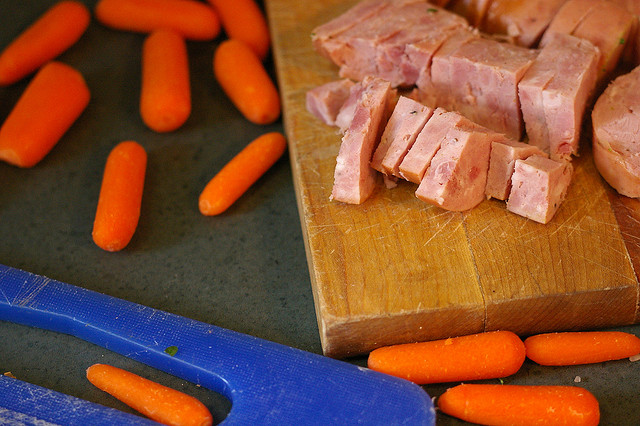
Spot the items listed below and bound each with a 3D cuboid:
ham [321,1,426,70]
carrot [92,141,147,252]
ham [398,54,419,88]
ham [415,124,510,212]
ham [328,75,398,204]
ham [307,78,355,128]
[{"bbox_3d":[0.210,-0.890,3.043,0.603,0.271,0.418,-29,33,-37],"label":"ham"},{"bbox_3d":[-0.829,-0.075,2.780,0.149,0.144,0.468,18,55,-22],"label":"carrot"},{"bbox_3d":[0.398,-0.621,2.875,0.100,0.107,0.025,8,29,35],"label":"ham"},{"bbox_3d":[0.552,-0.233,2.664,0.443,0.299,0.283,21,32,36],"label":"ham"},{"bbox_3d":[0.138,-0.276,2.695,0.294,0.478,0.273,-18,28,-35],"label":"ham"},{"bbox_3d":[0.062,-0.503,2.864,0.222,0.197,0.130,-25,36,-34],"label":"ham"}]
